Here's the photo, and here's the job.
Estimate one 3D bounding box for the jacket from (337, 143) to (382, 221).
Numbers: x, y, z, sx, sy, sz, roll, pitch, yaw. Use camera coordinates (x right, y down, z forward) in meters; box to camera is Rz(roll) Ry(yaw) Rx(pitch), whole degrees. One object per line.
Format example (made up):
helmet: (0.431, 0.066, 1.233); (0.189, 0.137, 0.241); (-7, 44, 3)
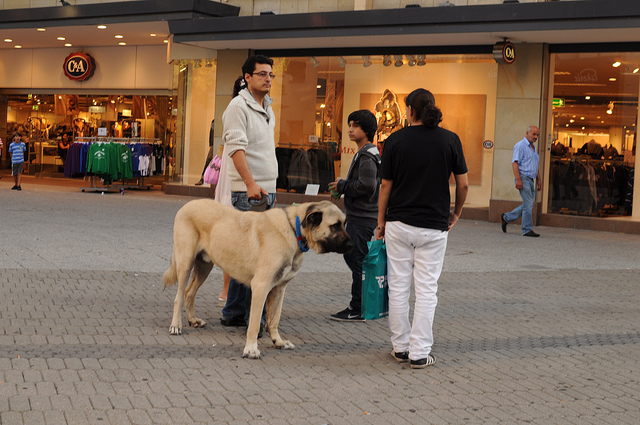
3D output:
jacket: (0.516, -0.394, 7.489); (0.660, 1.008, 0.918); (2, 4, -7)

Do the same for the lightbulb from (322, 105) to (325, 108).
lightbulb: (0.127, -3.326, 17.992); (0.088, 0.088, 0.049); (1, 15, 1)

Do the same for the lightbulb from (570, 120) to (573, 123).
lightbulb: (6.895, -2.514, 15.756); (0.082, 0.080, 0.056); (4, 2, 8)

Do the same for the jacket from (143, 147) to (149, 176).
jacket: (-6.486, -1.914, 21.471); (0.095, 1.015, 0.325); (4, 8, 15)

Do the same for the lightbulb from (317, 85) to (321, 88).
lightbulb: (-0.027, -3.971, 18.075); (0.116, 0.058, 0.054); (3, 6, 3)

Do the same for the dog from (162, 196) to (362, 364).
dog: (-0.790, 0.653, 6.448); (2.399, 1.684, 0.948); (5, 0, 19)

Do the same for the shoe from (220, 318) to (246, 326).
shoe: (-1.065, 1.300, 6.961); (0.274, 0.118, 0.100); (-2, 6, -10)

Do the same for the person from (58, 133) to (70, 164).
person: (-11.964, -3.035, 26.916); (0.824, 1.397, 0.198); (9, 10, 39)

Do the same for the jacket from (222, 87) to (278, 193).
jacket: (-0.775, -0.844, 6.791); (0.699, 1.217, 0.331); (-4, 10, -40)

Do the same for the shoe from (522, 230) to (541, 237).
shoe: (5.142, 0.507, 13.890); (0.440, 0.187, 0.149); (1, 4, -4)

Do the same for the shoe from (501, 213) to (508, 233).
shoe: (4.554, 0.257, 14.256); (0.139, 0.440, 0.191); (-6, 17, -1)

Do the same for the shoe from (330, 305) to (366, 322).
shoe: (0.367, 1.317, 7.448); (0.481, 0.195, 0.179); (3, -3, -1)

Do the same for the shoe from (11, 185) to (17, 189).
shoe: (-10.753, -0.909, 20.303); (0.141, 0.134, 0.404); (-3, 10, -31)

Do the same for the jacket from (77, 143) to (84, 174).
jacket: (-8.662, -1.962, 20.823); (0.169, 1.010, 0.211); (0, 8, -17)

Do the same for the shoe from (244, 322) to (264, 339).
shoe: (-0.760, 1.361, 6.699); (0.226, 0.125, 0.384); (1, 9, -8)

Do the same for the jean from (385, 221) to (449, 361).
jean: (0.976, 0.742, 6.085); (0.615, 1.672, 0.526); (4, 4, 19)

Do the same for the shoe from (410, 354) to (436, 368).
shoe: (1.088, 1.546, 6.068); (0.107, 0.130, 0.320); (6, 11, 37)

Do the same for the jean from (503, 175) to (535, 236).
jean: (4.883, -0.212, 13.986); (0.616, 1.416, 0.523); (5, 8, 21)

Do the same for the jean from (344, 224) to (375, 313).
jean: (0.482, 0.713, 7.318); (0.349, 1.124, 0.303); (3, 7, 2)
